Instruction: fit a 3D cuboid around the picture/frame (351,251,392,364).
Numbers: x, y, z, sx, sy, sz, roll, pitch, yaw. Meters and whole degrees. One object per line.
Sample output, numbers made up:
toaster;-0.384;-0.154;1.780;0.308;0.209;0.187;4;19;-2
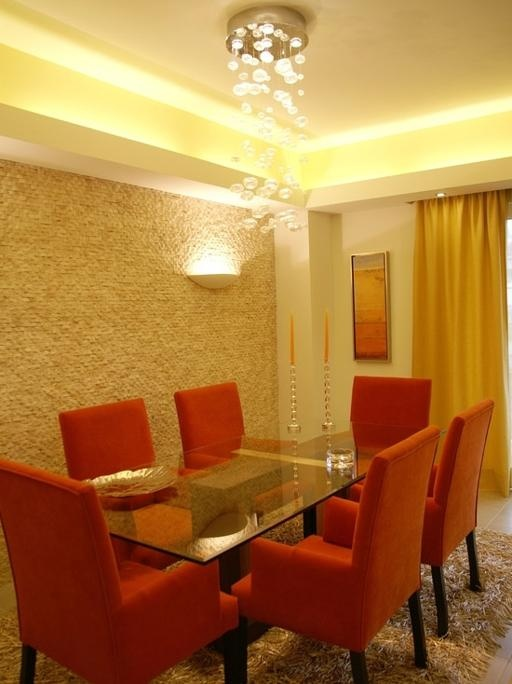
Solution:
picture/frame;0.956;-0.270;4.489;0.372;0.940;0.046;-7;10;-18

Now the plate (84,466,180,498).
plate;-0.448;0.519;1.957;0.313;0.016;0.443;-4;1;-21

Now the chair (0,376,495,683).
chair;0.344;0.568;2.626;1.403;0.863;1.426;3;4;30
